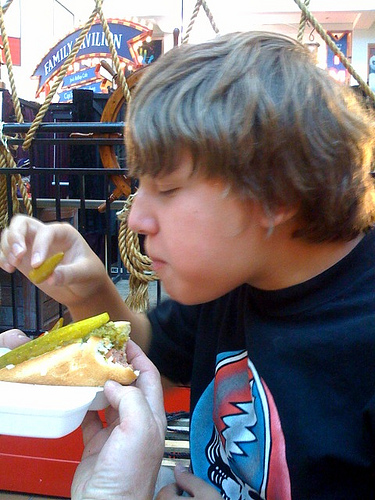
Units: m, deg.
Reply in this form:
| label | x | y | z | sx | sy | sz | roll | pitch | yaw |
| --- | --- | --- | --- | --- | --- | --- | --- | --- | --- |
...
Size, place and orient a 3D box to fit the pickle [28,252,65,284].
| label | x | y | z | sx | sy | sz | roll | pitch | yaw |
| --- | --- | --- | --- | --- | --- | --- | --- | --- | --- |
| pickle | -0.317 | 0.032 | 1.025 | 0.043 | 0.045 | 0.103 | -44 | 8 | 11 |
